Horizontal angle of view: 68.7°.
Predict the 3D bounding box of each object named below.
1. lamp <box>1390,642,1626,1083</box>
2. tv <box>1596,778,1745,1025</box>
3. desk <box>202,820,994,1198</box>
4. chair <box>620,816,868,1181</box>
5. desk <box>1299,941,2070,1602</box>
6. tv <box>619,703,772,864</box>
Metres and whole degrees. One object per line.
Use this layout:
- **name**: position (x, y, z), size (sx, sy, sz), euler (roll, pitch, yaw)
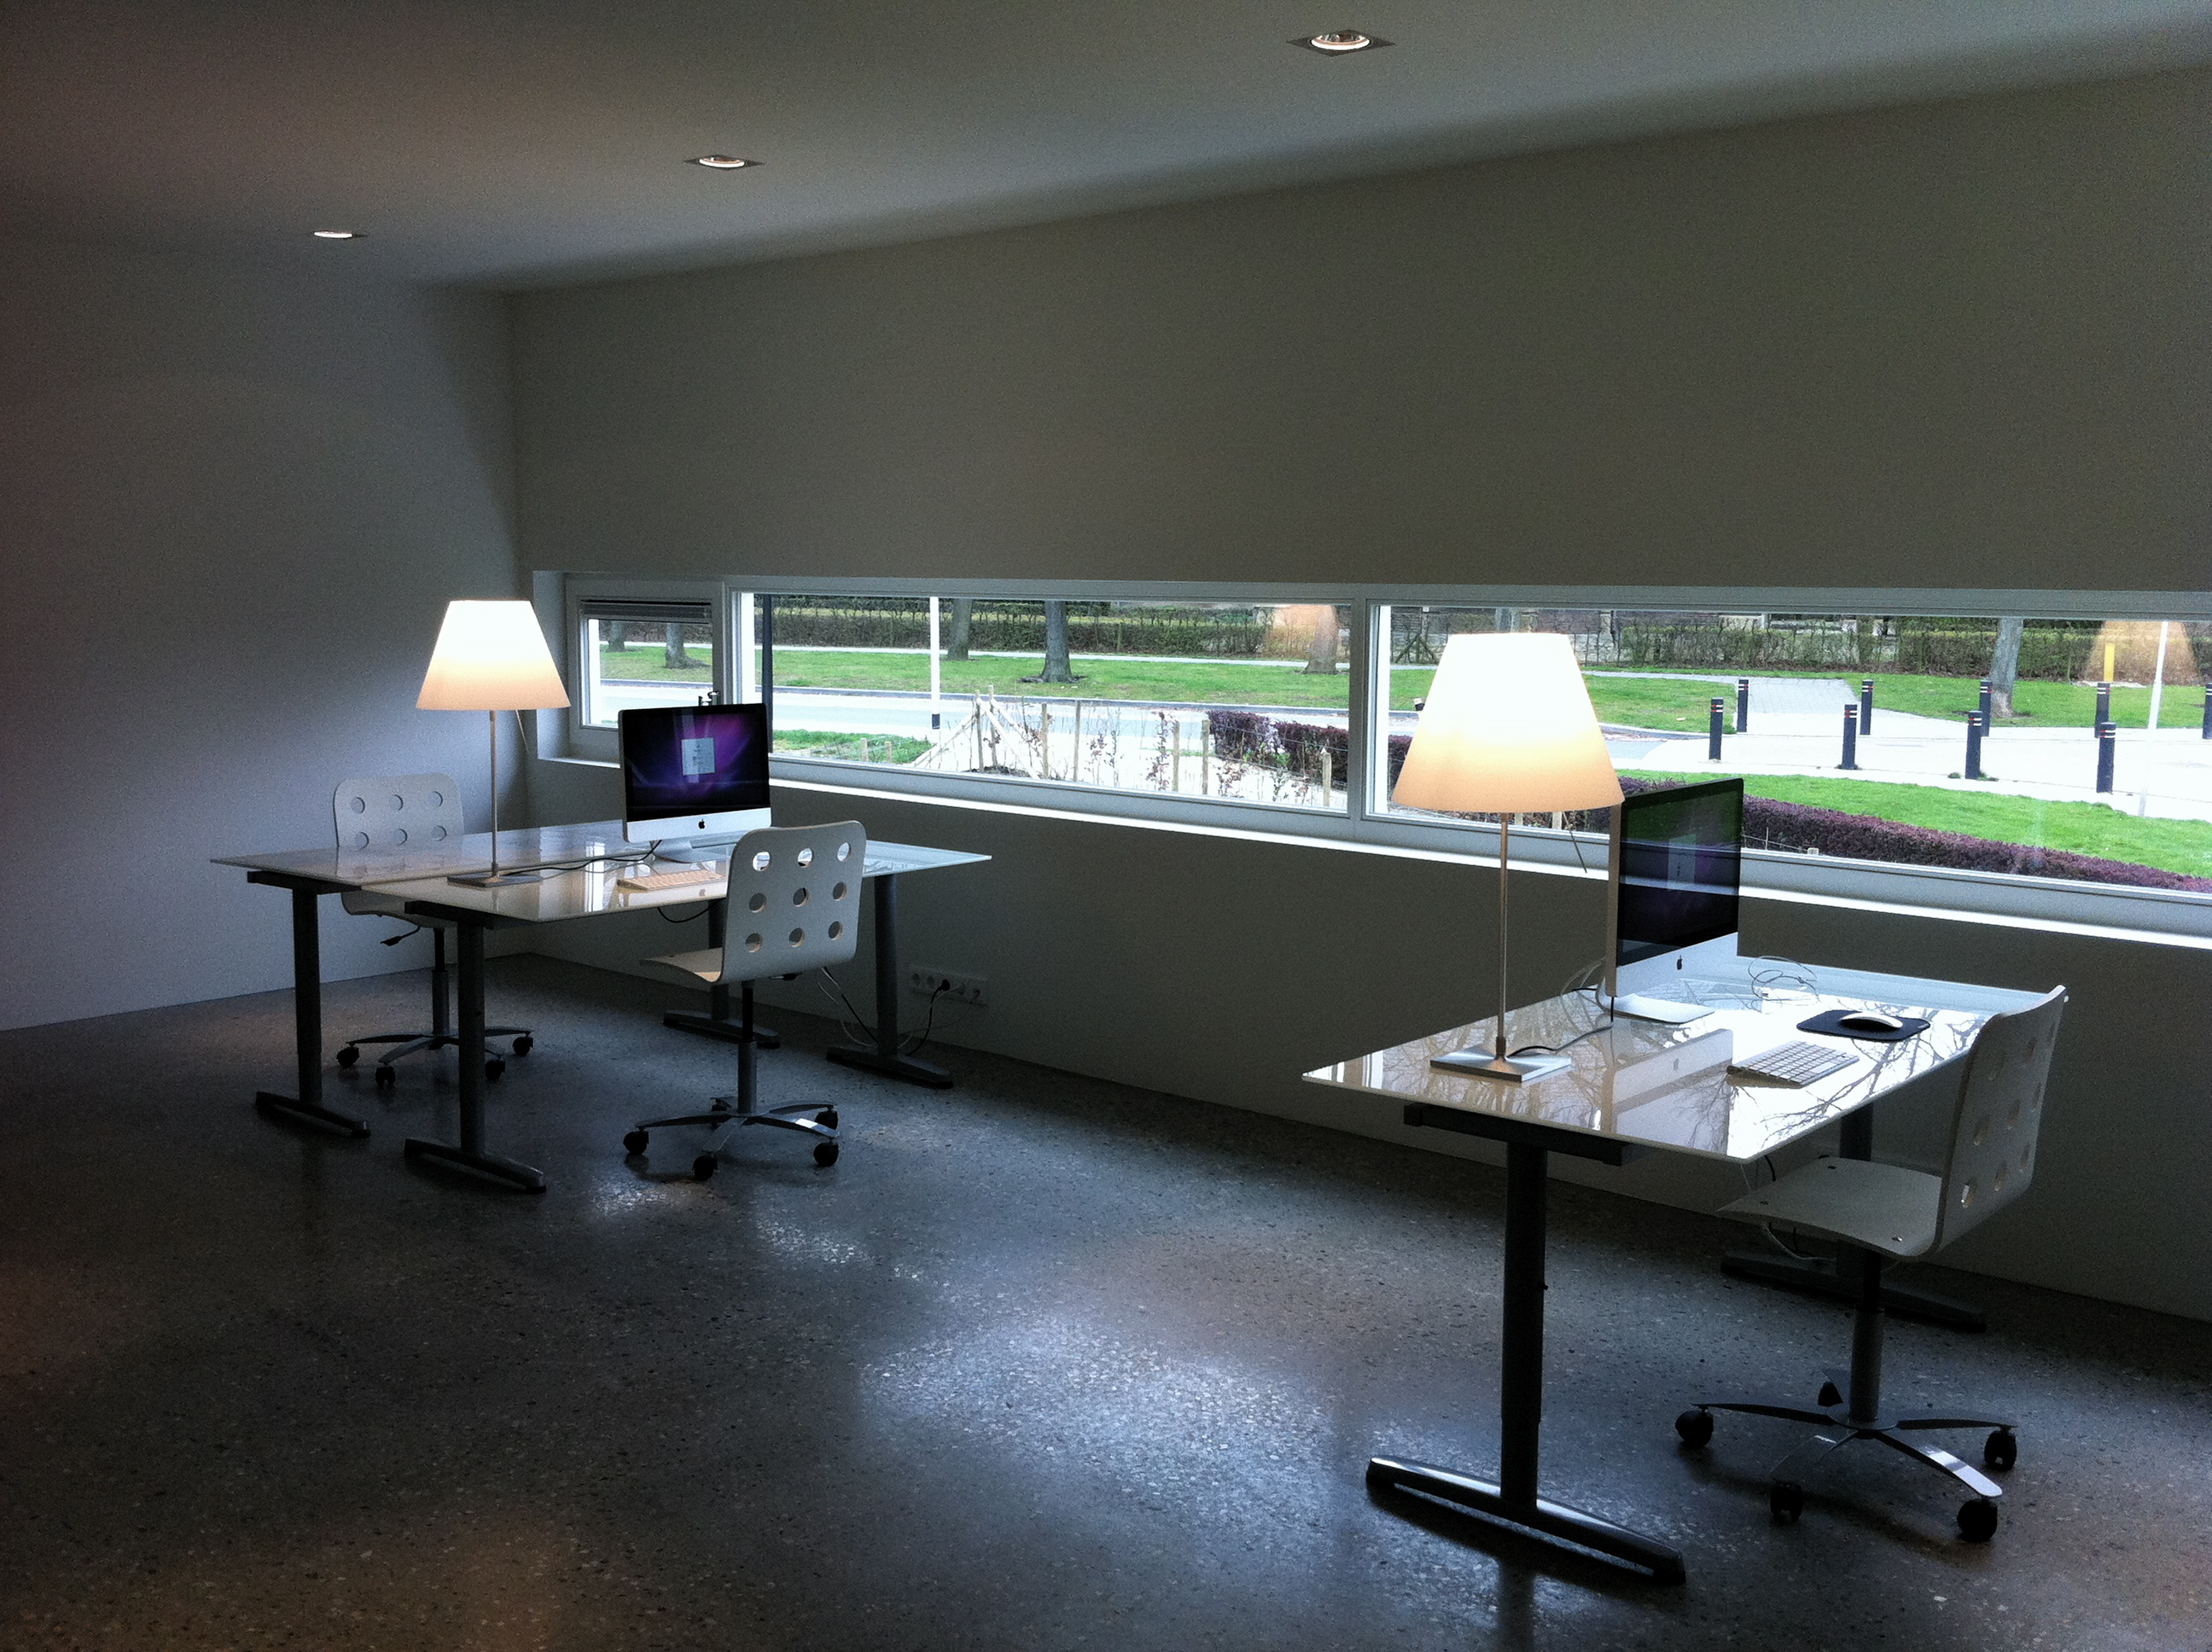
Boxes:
- **lamp**: position (0.974, 0.088, 3.932), size (0.616, 1.069, 0.589), euler (0, 5, -8)
- **tv**: position (1.501, 0.211, 4.283), size (0.184, 0.530, 0.644), euler (4, 8, 44)
- **desk**: position (-2.151, 0.385, 5.908), size (1.585, 0.927, 2.043), euler (4, 5, 39)
- **chair**: position (-1.280, 0.574, 5.800), size (0.770, 1.180, 0.874), euler (5, 6, 44)
- **desk**: position (1.664, 0.975, 4.142), size (2.168, 1.175, 1.409), euler (-5, 7, -42)
- **tv**: position (-1.575, -0.161, 6.183), size (0.573, 0.483, 0.276), euler (-7, 14, -42)
